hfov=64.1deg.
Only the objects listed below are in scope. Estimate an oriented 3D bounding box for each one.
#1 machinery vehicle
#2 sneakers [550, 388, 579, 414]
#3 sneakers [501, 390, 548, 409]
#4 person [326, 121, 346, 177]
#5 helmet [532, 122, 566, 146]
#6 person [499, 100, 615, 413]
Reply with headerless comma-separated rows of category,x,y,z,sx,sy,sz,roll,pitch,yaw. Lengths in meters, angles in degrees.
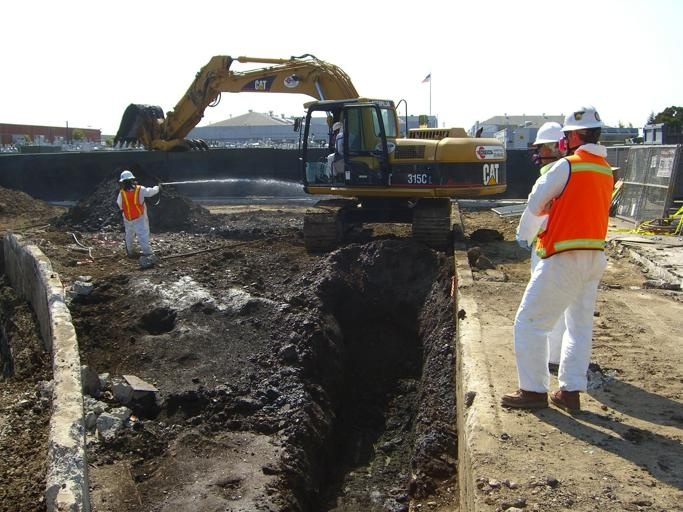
machinery vehicle,-0.848,-2.278,12.161,8.342,3.862,3.047,2,11,14
sneakers,1.903,1.225,4.696,0.123,0.178,0.278,-3,14,-13
sneakers,1.576,1.237,4.755,0.366,0.167,0.155,3,-1,2
person,-0.101,-2.133,11.056,0.275,1.134,0.807,-3,11,-15
helmet,2.105,-1.239,5.537,0.330,0.200,0.232,-2,14,-10
person,1.868,0.019,4.689,0.998,2.553,0.649,-8,13,-35
